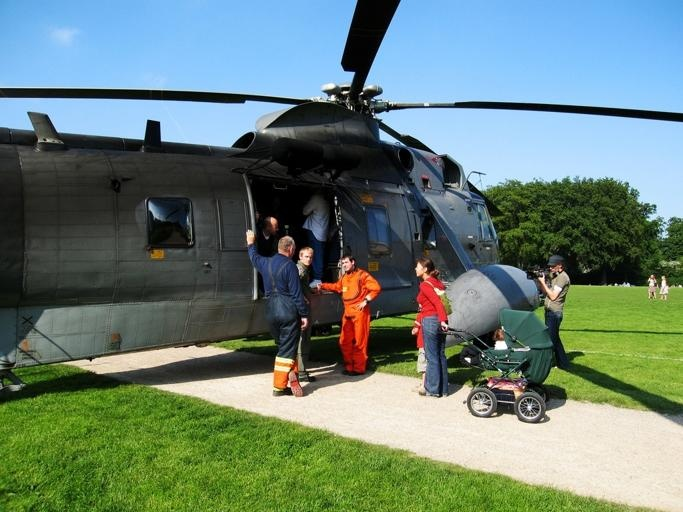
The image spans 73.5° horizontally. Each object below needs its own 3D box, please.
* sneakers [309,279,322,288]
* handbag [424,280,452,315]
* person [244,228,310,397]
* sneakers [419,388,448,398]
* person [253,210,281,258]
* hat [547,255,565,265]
[{"bbox_3d":[-0.478,0.518,8.529,0.224,0.129,0.355,-2,-4,14],"label":"sneakers"},{"bbox_3d":[1.521,0.674,7.201,0.179,0.539,0.569,-21,17,-2],"label":"handbag"},{"bbox_3d":[-0.961,0.929,7.187,0.890,2.414,0.415,1,0,34],"label":"person"},{"bbox_3d":[1.471,2.131,7.193,0.457,0.158,0.147,-1,2,22],"label":"sneakers"},{"bbox_3d":[-1.389,-0.377,8.429,0.355,0.463,0.954,-2,-34,-2],"label":"person"},{"bbox_3d":[4.376,0.099,9.190,0.369,0.150,0.236,6,-4,-24],"label":"hat"}]
